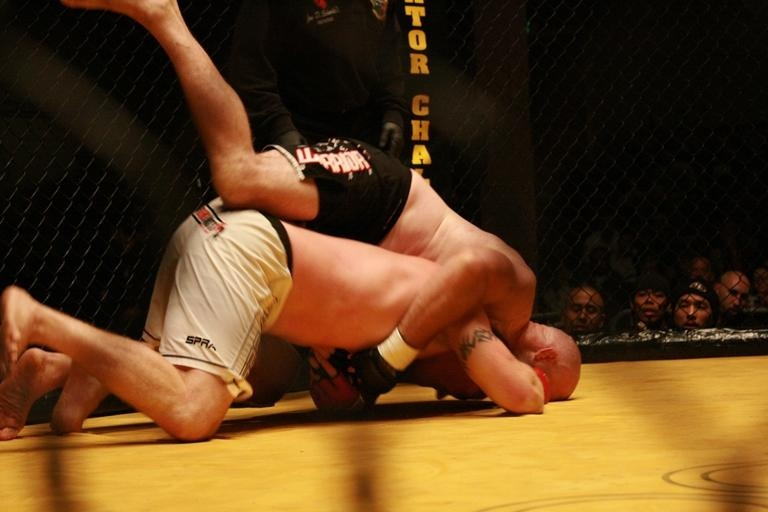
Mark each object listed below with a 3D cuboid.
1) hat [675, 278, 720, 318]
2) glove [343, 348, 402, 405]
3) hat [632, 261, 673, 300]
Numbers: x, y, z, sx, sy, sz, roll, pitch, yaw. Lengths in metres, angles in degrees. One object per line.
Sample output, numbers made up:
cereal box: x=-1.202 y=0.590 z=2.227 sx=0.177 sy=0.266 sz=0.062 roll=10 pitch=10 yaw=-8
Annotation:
hat: x=1.922 y=0.272 z=4.455 sx=0.201 sy=0.223 sz=0.180 roll=24 pitch=89 yaw=21
glove: x=-0.056 y=0.419 z=2.605 sx=0.168 sy=0.221 sz=0.124 roll=47 pitch=59 yaw=-1
hat: x=1.858 y=0.160 z=4.957 sx=0.253 sy=0.347 sz=0.263 roll=2 pitch=90 yaw=8
